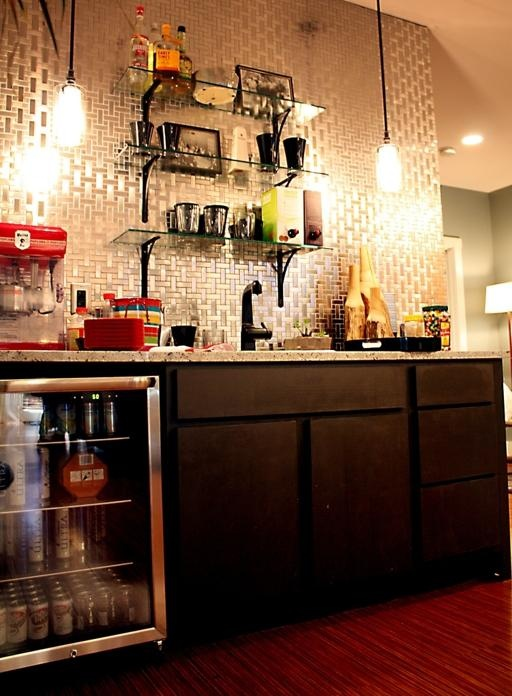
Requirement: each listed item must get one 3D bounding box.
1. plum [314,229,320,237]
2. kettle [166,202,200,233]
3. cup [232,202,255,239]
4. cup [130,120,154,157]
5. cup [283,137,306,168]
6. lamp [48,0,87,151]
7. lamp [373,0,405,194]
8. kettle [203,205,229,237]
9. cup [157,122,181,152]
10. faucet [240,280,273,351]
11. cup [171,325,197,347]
[{"bbox_3d":[0.259,-0.476,2.495,0.024,0.029,0.008,6,-5,44],"label":"plum"},{"bbox_3d":[-0.277,-0.477,2.279,0.121,0.117,0.117,0,0,-30],"label":"kettle"},{"bbox_3d":[-0.051,-0.509,2.457,0.117,0.184,0.132,-2,6,-15],"label":"cup"},{"bbox_3d":[-0.418,-0.770,2.228,0.090,0.123,0.093,-1,3,0],"label":"cup"},{"bbox_3d":[0.167,-0.821,2.582,0.102,0.153,0.112,-2,4,-25],"label":"cup"},{"bbox_3d":[-0.654,-0.992,2.072,0.117,0.640,0.294,1,-3,-18],"label":"lamp"},{"bbox_3d":[0.629,-1.224,2.824,0.124,1.104,0.572,-1,-3,13],"label":"lamp"},{"bbox_3d":[-0.155,-0.481,2.324,0.095,0.125,0.099,-1,2,-24],"label":"kettle"},{"bbox_3d":[-0.319,-0.770,2.183,0.080,0.111,0.096,2,6,6],"label":"cup"},{"bbox_3d":[-0.004,-0.108,2.324,0.107,0.262,0.387,0,-3,-2],"label":"faucet"},{"bbox_3d":[-0.268,-0.038,2.138,0.105,0.081,0.100,0,-3,0],"label":"cup"}]
